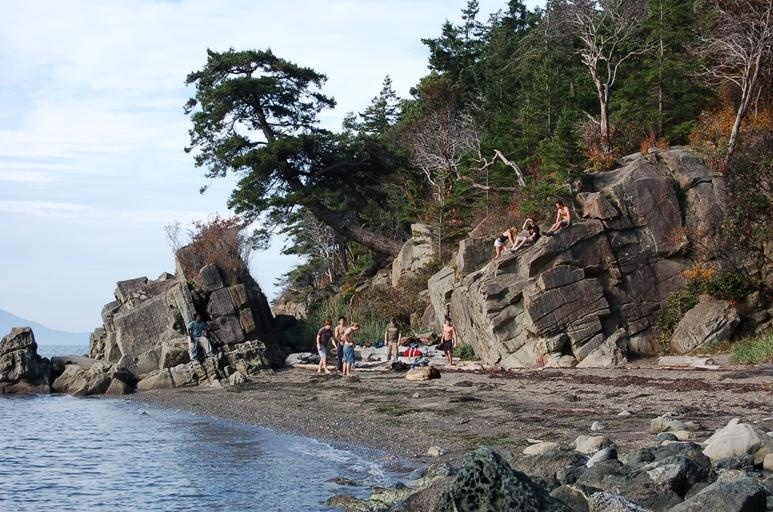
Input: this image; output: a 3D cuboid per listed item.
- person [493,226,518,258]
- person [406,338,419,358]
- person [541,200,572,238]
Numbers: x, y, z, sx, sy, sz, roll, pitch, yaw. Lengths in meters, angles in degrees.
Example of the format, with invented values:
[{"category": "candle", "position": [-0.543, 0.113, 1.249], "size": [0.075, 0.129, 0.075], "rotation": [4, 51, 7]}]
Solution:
[{"category": "person", "position": [5.790, -0.586, 46.780], "size": [1.017, 0.526, 1.592], "rotation": [7, -42, -13]}, {"category": "person", "position": [1.326, 4.652, 48.700], "size": [0.389, 0.740, 0.367], "rotation": [-2, -14, -4]}, {"category": "person", "position": [8.051, -1.746, 45.330], "size": [1.543, 1.615, 0.739], "rotation": [-9, 1, -21]}]
